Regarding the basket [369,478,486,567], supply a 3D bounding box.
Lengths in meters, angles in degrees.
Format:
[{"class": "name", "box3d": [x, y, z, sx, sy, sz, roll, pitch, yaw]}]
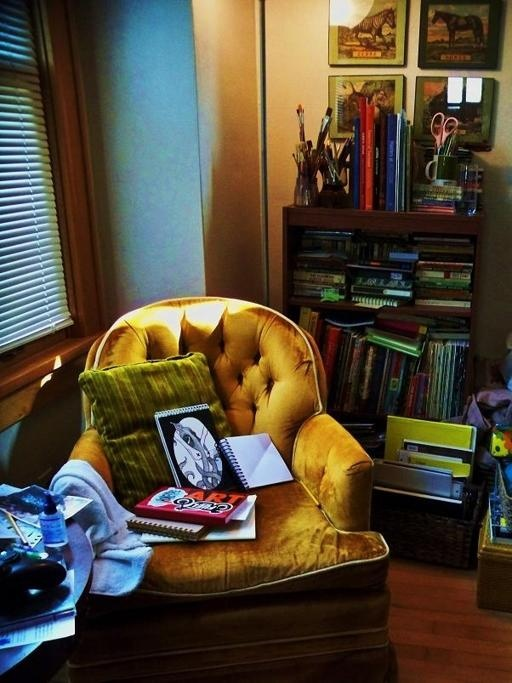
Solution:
[{"class": "basket", "box3d": [0.556, 0.604, 1.743, 0.397, 0.248, 0.285, 5, 14, 18]}]

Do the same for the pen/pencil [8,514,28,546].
[{"class": "pen/pencil", "box3d": [-0.386, 0.302, 0.871, 0.021, 0.021, 0.161, -5, 3, -25]}]
